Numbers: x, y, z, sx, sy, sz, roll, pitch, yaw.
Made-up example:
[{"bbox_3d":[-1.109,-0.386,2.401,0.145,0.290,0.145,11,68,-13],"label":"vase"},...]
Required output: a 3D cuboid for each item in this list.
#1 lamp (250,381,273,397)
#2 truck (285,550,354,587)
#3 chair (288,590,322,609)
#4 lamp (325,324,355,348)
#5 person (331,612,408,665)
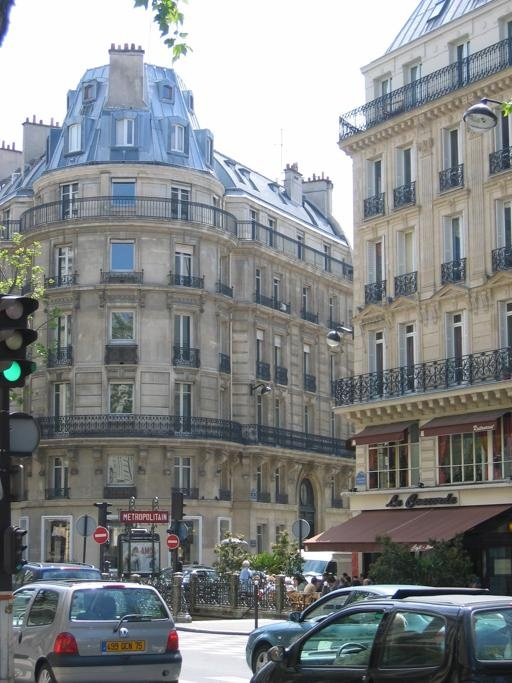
[{"bbox_3d":[0.254,1.857,71.045,0.708,0.489,0.407,1,-3,37],"label":"lamp"},{"bbox_3d":[2.308,6.812,58.355,2.054,1.251,1.369,-2,-6,42],"label":"truck"},{"bbox_3d":[1.131,5.998,44.379,0.698,0.560,0.697,8,-14,-37],"label":"chair"},{"bbox_3d":[3.082,-0.111,70.448,0.596,0.857,0.883,12,-13,15],"label":"lamp"},{"bbox_3d":[1.334,3.726,24.016,0.691,0.718,0.261,-4,-16,41],"label":"person"}]
